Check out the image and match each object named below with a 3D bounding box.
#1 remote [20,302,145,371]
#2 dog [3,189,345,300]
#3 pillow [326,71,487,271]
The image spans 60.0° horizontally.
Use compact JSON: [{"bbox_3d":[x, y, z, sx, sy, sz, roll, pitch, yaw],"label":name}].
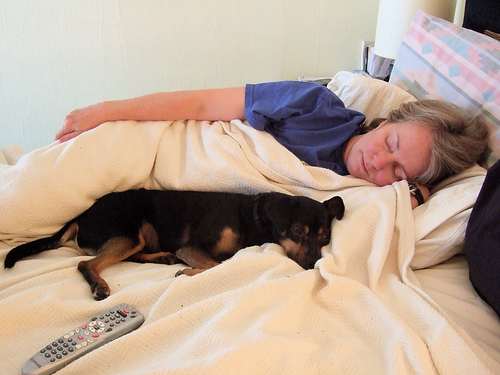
[{"bbox_3d":[-0.515,0.484,1.406,0.129,0.064,0.415,20,34,34],"label":"remote"},{"bbox_3d":[-0.277,0.147,2.066,1.473,0.567,0.552,6,68,1],"label":"dog"},{"bbox_3d":[0.742,-0.115,1.876,0.261,1.023,0.667,5,-1,-36],"label":"pillow"}]
